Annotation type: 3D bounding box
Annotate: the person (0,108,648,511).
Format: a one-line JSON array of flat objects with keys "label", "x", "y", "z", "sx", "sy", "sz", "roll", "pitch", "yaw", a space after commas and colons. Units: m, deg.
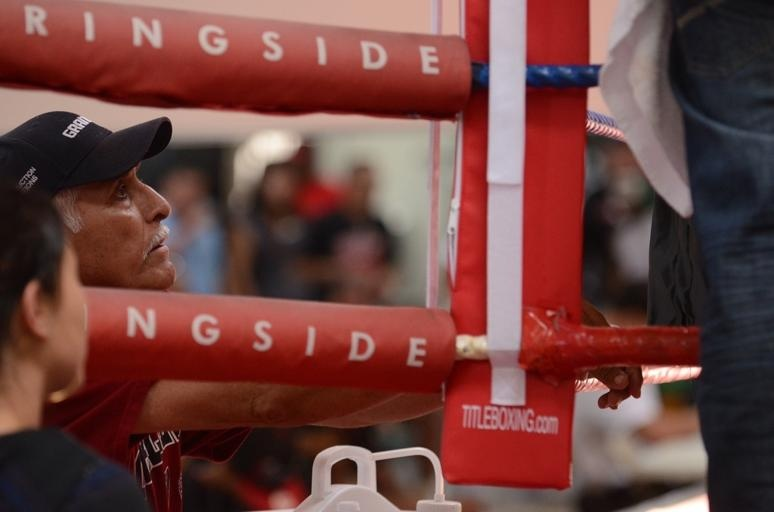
[{"label": "person", "x": -0.195, "y": 0.059, "z": 2.601, "sx": 1.005, "sy": 0.402, "sz": 0.769, "roll": 11, "pitch": -5, "yaw": 7}]
